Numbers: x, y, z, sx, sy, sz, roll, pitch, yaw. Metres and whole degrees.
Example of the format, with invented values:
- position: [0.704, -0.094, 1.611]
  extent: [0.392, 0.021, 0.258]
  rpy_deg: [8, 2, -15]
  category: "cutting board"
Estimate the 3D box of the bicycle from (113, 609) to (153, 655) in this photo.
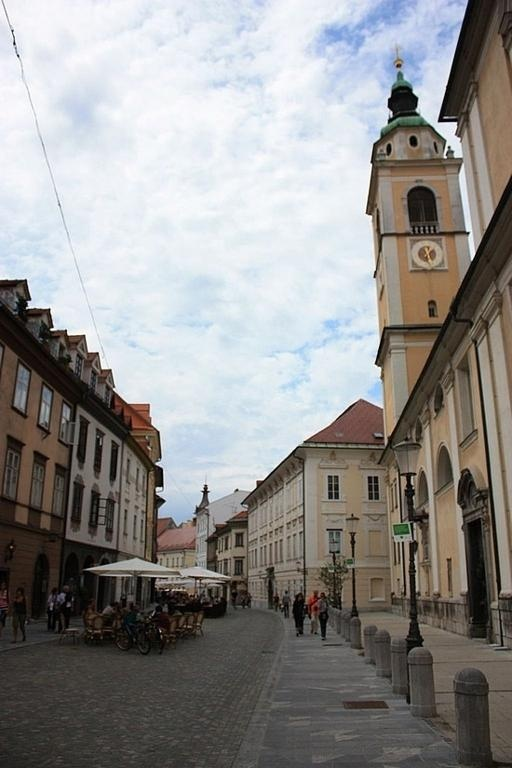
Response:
- position: [-3.404, 7.420, 16.547]
  extent: [0.897, 1.229, 1.879]
  rpy_deg: [13, -36, -20]
  category: "bicycle"

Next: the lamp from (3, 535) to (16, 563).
- position: [-8.821, 6.008, 20.012]
  extent: [0.269, 0.833, 1.000]
  rpy_deg: [5, -19, -15]
  category: "lamp"
